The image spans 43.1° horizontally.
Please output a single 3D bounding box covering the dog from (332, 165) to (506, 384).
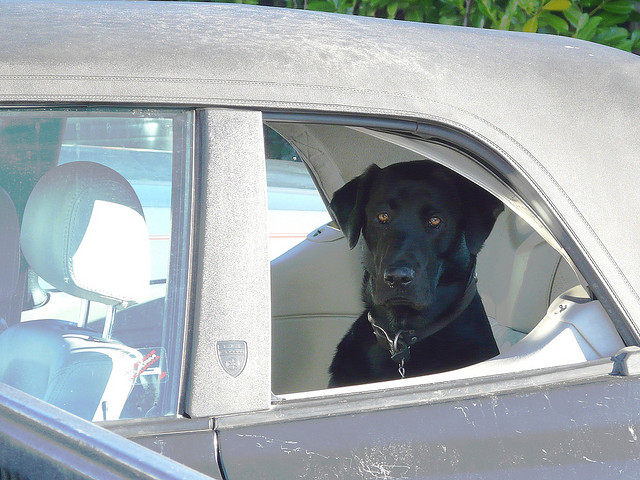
[{"bbox_3d":[0.381,0.160,3.294,0.733,0.926,0.650,1,5,15],"label":"dog"}]
